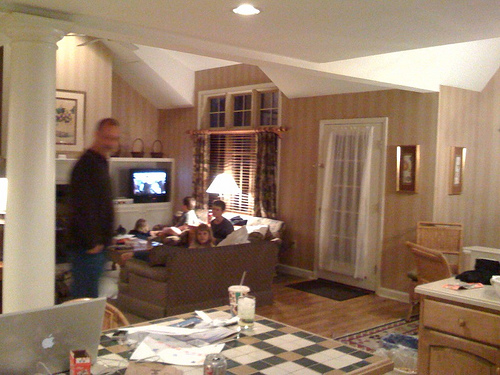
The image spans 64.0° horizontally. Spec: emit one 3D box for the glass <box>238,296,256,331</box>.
[{"bbox_3d":[-0.016,0.621,2.031,0.087,0.158,0.151,1,-1,-1],"label":"glass"}]

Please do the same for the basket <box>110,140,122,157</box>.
[{"bbox_3d":[-2.909,-0.840,8.718,0.205,0.362,0.897,2,-1,-17],"label":"basket"}]

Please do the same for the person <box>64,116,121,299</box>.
[{"bbox_3d":[-1.134,0.147,2.880,0.352,1.321,0.257,2,-2,-21],"label":"person"}]

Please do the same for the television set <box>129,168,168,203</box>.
[{"bbox_3d":[-2.285,-0.047,8.810,0.905,0.629,0.436,-1,6,-35],"label":"television set"}]

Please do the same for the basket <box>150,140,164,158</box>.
[{"bbox_3d":[-2.221,-0.926,9.580,0.272,0.469,0.459,1,-1,-10],"label":"basket"}]

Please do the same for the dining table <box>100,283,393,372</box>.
[{"bbox_3d":[-0.069,0.629,1.844,1.182,0.209,0.736,1,-1,-15],"label":"dining table"}]

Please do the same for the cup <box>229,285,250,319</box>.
[{"bbox_3d":[-0.052,0.617,2.133,0.110,0.128,0.105,0,-12,0],"label":"cup"}]

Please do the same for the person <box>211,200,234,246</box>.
[{"bbox_3d":[-0.407,0.514,6.060,0.327,0.634,0.777,1,-1,-4],"label":"person"}]

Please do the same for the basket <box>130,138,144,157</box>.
[{"bbox_3d":[-2.593,-0.932,9.269,0.266,0.491,0.648,2,-1,-16],"label":"basket"}]
